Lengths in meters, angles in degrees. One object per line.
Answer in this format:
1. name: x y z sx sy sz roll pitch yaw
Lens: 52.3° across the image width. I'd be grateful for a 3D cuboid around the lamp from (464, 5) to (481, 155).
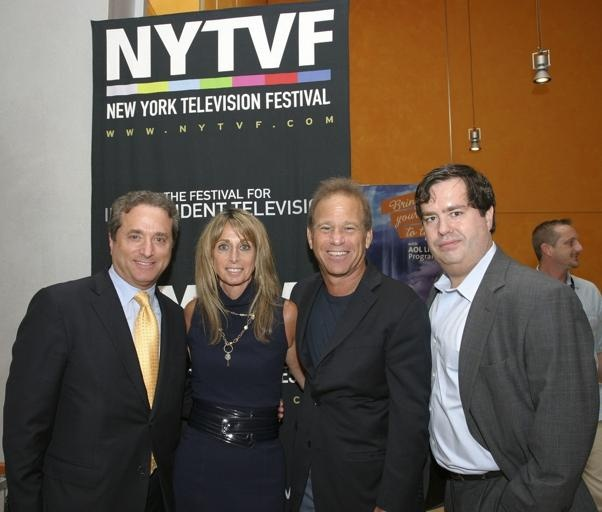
1. lamp: 2.484 -2.634 8.769 0.229 2.314 1.030 0 4 16
